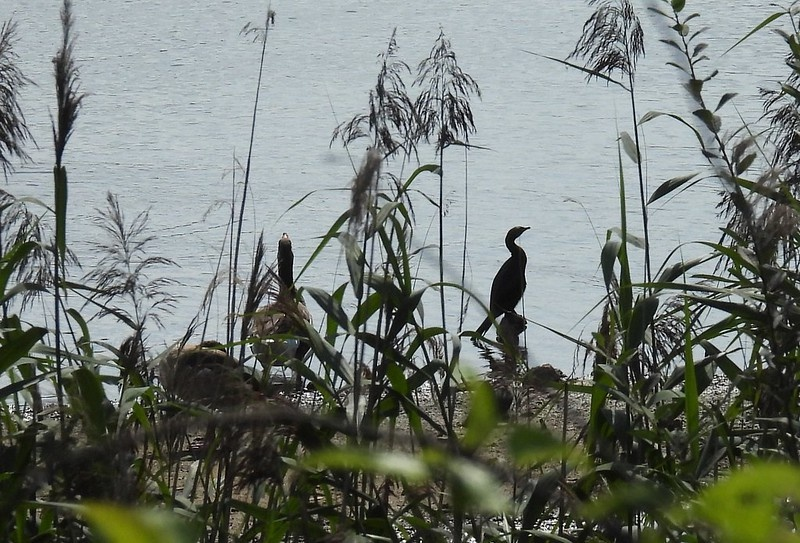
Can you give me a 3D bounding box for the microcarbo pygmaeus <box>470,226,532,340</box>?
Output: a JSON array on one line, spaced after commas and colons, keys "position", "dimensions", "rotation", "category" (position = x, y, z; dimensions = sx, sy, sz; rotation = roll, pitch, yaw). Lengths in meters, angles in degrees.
[{"position": [0.864, 0.135, 9.701], "dimensions": [0.684, 1.022, 0.541], "rotation": [3, -12, 12], "category": "microcarbo pygmaeus"}]
